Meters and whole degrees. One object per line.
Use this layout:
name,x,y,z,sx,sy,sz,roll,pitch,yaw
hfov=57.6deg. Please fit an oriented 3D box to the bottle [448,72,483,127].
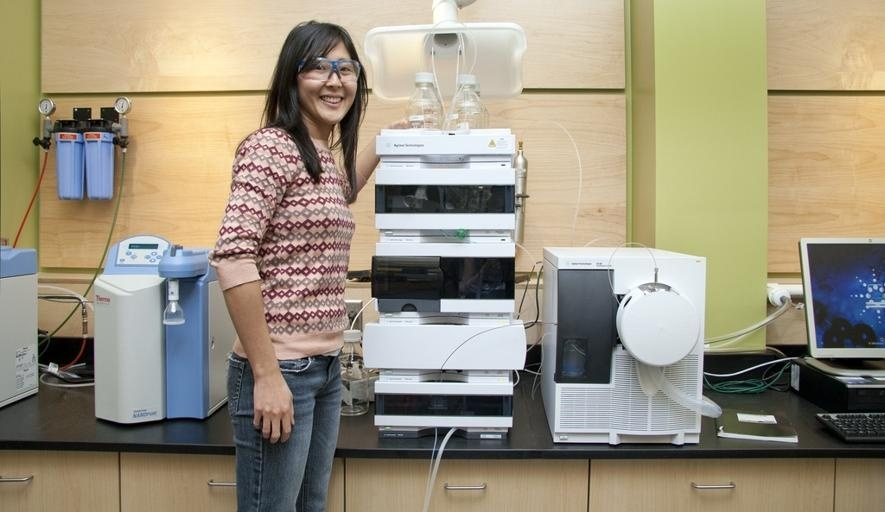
bottle,0.107,-0.712,3.745,0.161,0.250,0.273,1,16,14

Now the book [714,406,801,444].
book,1.503,0.790,3.867,0.346,0.030,0.356,0,10,16

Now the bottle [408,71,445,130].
bottle,-0.074,-0.715,3.815,0.213,0.285,0.194,-6,26,-4
